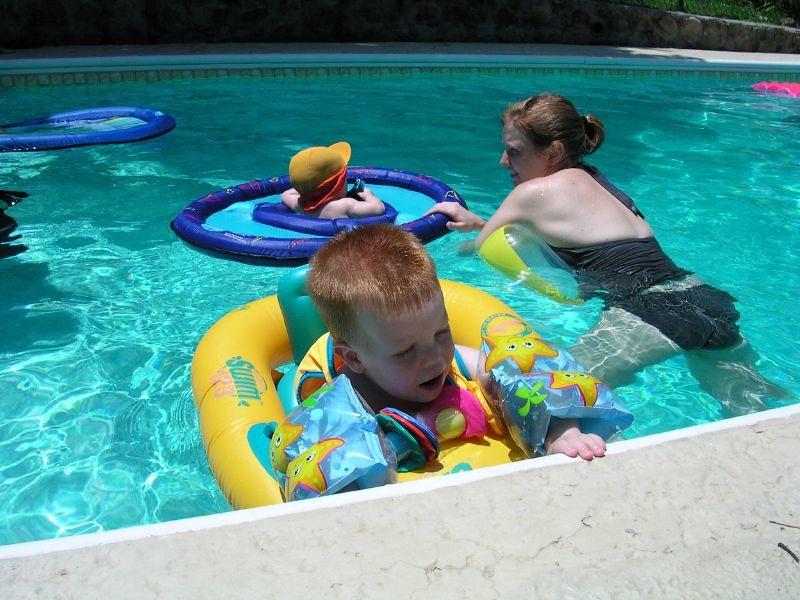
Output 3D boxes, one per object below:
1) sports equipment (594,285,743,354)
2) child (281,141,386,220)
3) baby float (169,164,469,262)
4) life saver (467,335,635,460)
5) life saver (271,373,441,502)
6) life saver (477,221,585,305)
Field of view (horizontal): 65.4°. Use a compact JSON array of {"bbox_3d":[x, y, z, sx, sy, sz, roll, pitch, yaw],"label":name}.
[{"bbox_3d":[1.408,0.061,3.117,0.517,0.147,0.425,-9,17,-18],"label":"sports equipment"},{"bbox_3d":[-0.436,-0.960,4.853,0.637,0.259,0.786,13,32,26],"label":"child"},{"bbox_3d":[-0.746,-0.590,4.812,1.396,0.160,1.406,10,19,27],"label":"baby float"},{"bbox_3d":[0.494,0.279,2.194,0.353,0.160,0.479,-12,34,-19],"label":"life saver"},{"bbox_3d":[-0.146,0.439,1.977,0.567,0.229,0.327,-9,45,-22],"label":"life saver"},{"bbox_3d":[0.801,-0.210,3.677,0.674,0.296,0.226,35,3,26],"label":"life saver"}]
